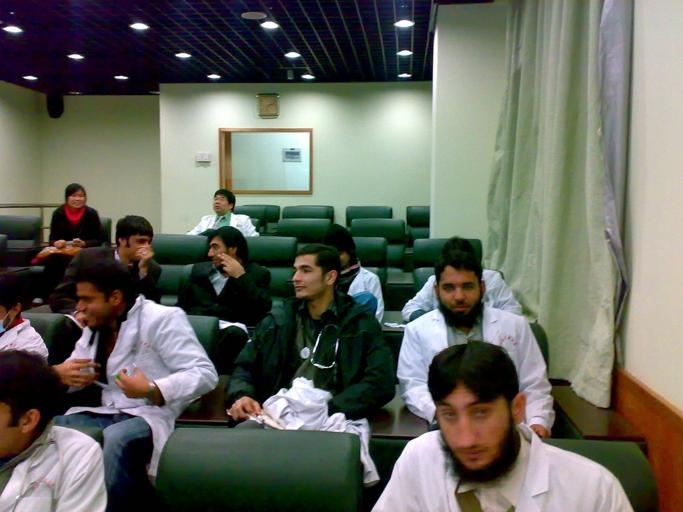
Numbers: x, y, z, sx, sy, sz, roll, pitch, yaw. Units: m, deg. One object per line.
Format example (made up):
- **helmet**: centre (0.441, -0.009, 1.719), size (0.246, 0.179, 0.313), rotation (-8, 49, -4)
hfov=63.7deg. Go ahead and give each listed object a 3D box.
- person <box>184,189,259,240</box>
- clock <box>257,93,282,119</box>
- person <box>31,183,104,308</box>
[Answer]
- **person**: centre (-1.427, -0.430, 6.584), size (0.945, 0.712, 0.490), rotation (1, -8, 7)
- **clock**: centre (-1.113, -2.326, 8.493), size (0.335, 0.389, 0.055), rotation (0, 4, 1)
- **person**: centre (-2.806, -0.104, 5.764), size (0.745, 1.206, 0.718), rotation (7, 12, -1)
